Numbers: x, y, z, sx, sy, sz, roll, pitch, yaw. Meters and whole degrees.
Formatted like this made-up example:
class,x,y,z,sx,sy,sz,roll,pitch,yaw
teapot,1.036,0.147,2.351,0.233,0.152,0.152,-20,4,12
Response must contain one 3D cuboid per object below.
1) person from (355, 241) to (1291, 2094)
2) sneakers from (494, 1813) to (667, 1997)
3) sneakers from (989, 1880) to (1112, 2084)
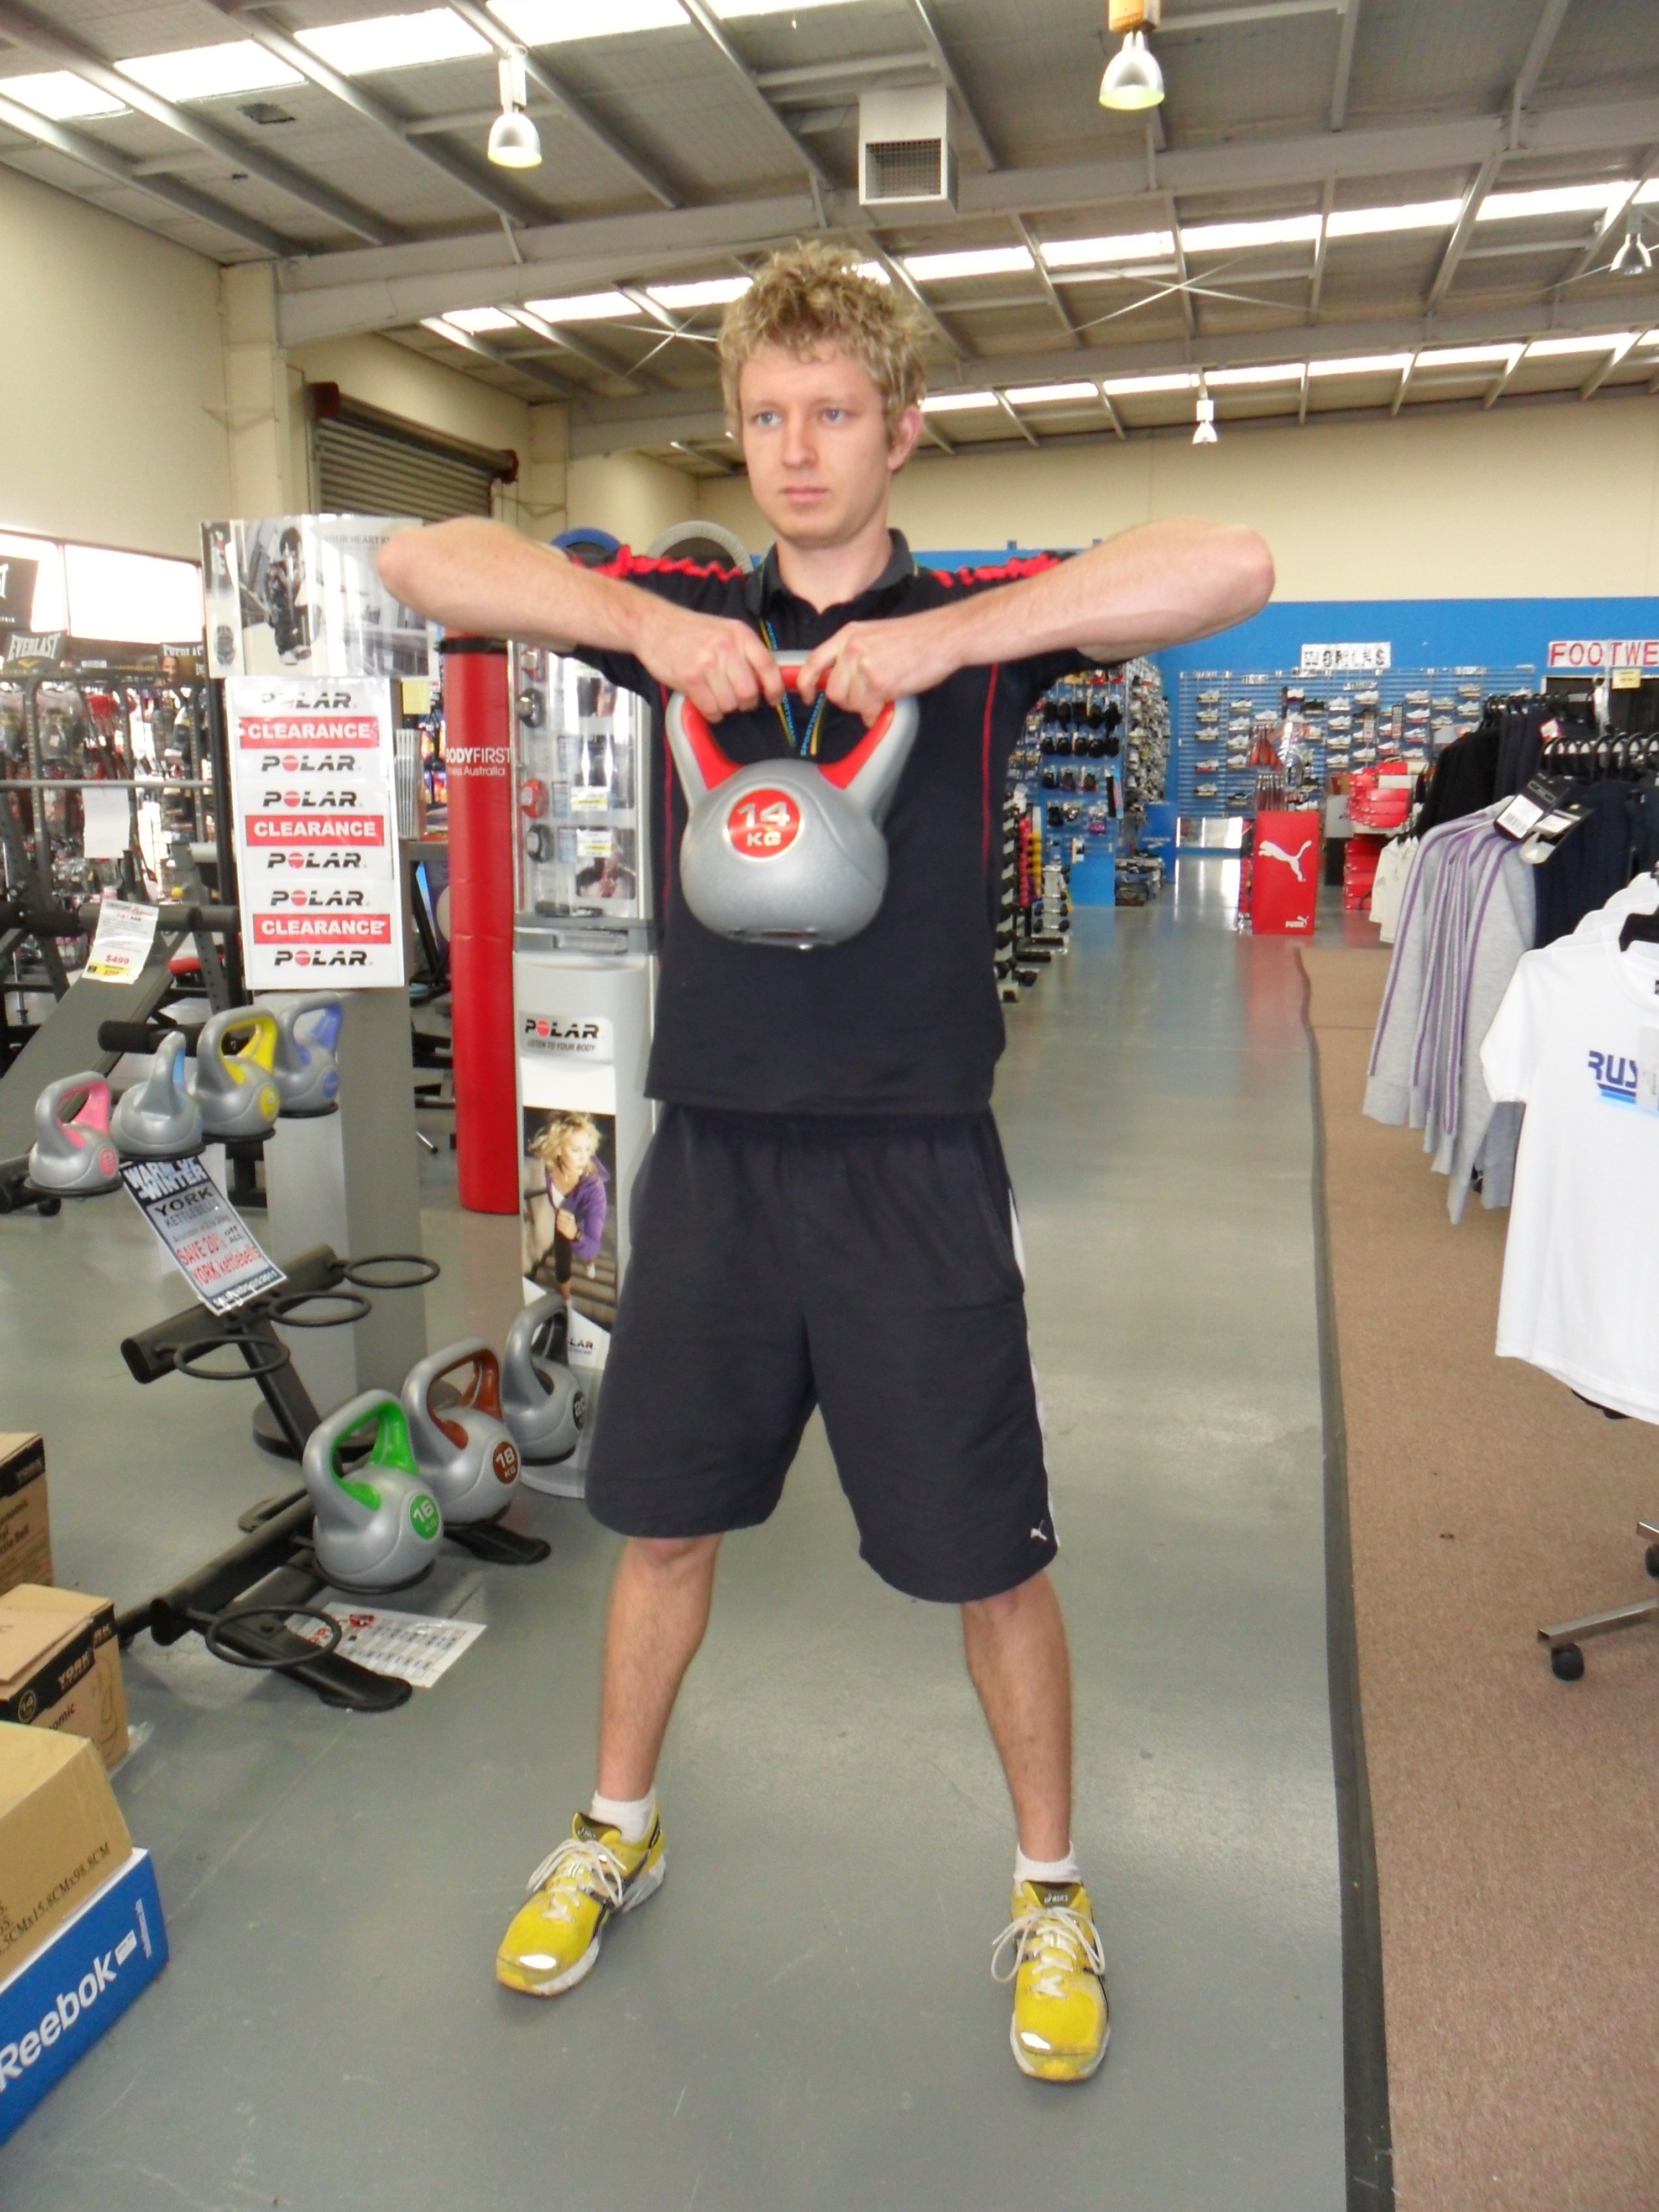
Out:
class,x,y,z,sx,sy,sz,roll,pitch,yaw
person,0.013,0.068,1.307,0.704,1.557,0.365,3,8,21
sneakers,-0.246,0.777,1.445,0.075,0.090,0.186,7,1,15
sneakers,0.207,0.787,1.312,0.063,0.062,0.154,-2,8,4
